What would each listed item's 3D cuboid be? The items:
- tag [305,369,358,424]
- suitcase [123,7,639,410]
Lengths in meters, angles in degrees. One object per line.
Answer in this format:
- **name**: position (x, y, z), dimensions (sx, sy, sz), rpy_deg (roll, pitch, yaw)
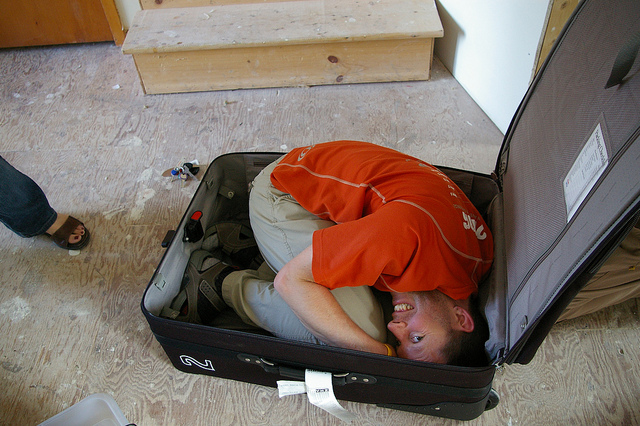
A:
- **tag**: position (0.035, 0.637, 1.750), dimensions (0.121, 0.208, 0.050), rpy_deg (-8, 29, 36)
- **suitcase**: position (0.149, 0.008, 2.060), dimensions (1.863, 1.429, 1.324), rpy_deg (10, 59, 12)
